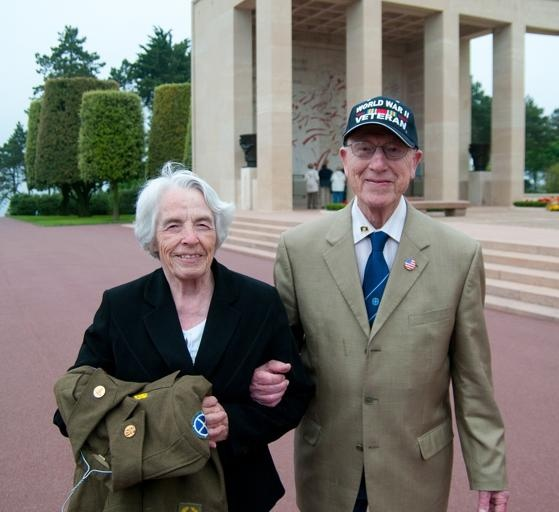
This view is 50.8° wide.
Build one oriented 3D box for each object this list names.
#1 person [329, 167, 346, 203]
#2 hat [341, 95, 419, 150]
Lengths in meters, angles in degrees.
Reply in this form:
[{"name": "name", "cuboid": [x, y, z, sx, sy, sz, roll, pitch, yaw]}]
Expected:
[{"name": "person", "cuboid": [2.154, -2.721, 21.785, 0.480, 0.512, 1.726, 3, -43, 3]}, {"name": "hat", "cuboid": [0.403, -0.542, 2.393, 0.296, 0.231, 0.202, -1, 2, 15]}]
